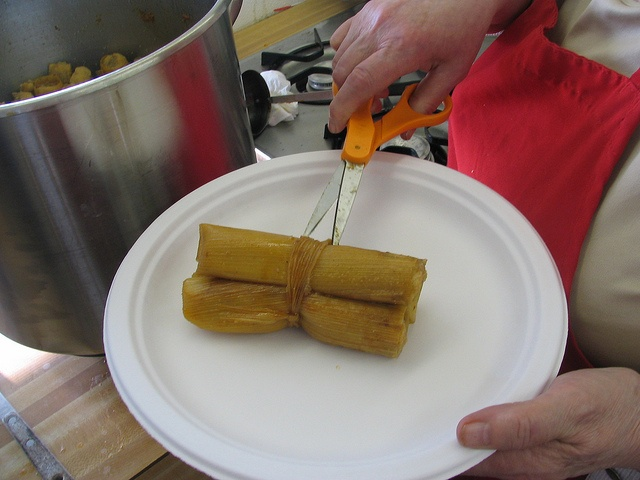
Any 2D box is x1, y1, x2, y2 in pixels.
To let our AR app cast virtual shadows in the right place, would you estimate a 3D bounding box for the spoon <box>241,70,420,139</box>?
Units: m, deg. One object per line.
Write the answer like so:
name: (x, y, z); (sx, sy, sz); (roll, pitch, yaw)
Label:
spoon: (0.055, -0.523, 1.993); (0.682, 0.248, 0.286); (-2, 84, -2)
